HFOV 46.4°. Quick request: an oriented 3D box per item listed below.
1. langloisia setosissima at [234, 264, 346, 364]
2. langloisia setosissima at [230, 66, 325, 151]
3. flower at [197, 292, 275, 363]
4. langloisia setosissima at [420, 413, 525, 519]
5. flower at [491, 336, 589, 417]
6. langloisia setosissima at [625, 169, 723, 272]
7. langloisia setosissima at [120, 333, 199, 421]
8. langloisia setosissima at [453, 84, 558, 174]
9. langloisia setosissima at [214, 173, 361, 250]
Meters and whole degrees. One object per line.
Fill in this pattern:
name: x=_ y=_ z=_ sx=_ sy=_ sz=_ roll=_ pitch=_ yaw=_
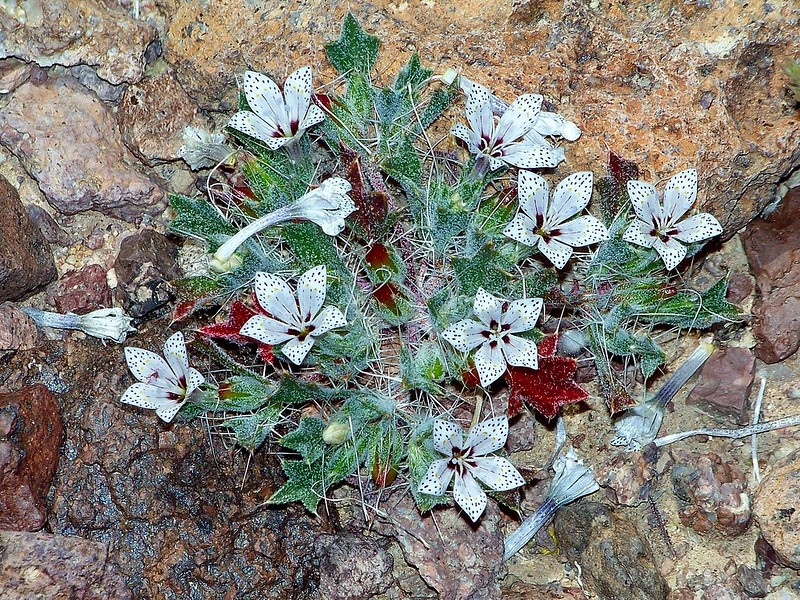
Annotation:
langloisia setosissima: x=-0.468 y=0.076 z=4.188 sx=0.374 sy=0.218 sz=0.506 roll=-23 pitch=81 yaw=7
langloisia setosissima: x=-0.569 y=-0.871 z=4.261 sx=0.432 sy=0.163 sz=0.346 roll=-1 pitch=83 yaw=-4
flower: x=-0.742 y=0.117 z=4.349 sx=0.322 sy=0.300 sz=0.109 roll=-13 pitch=28 yaw=22
langloisia setosissima: x=0.275 y=0.685 z=4.065 sx=0.514 sy=0.484 sz=0.154 roll=-35 pitch=106 yaw=-47
flower: x=0.632 y=0.349 z=4.275 sx=0.377 sy=0.331 sz=0.117 roll=30 pitch=23 yaw=14
langloisia setosissima: x=1.230 y=-0.352 z=4.352 sx=0.482 sy=0.465 sz=0.194 roll=30 pitch=55 yaw=-33
langloisia setosissima: x=-1.018 y=0.388 z=4.232 sx=0.397 sy=0.215 sz=0.428 roll=-15 pitch=63 yaw=14
langloisia setosissima: x=0.422 y=-0.757 z=4.359 sx=0.428 sy=0.455 sz=0.241 roll=5 pitch=69 yaw=-15
langloisia setosissima: x=-0.474 y=-0.373 z=4.258 sx=0.506 sy=0.221 sz=0.346 roll=-27 pitch=41 yaw=2
